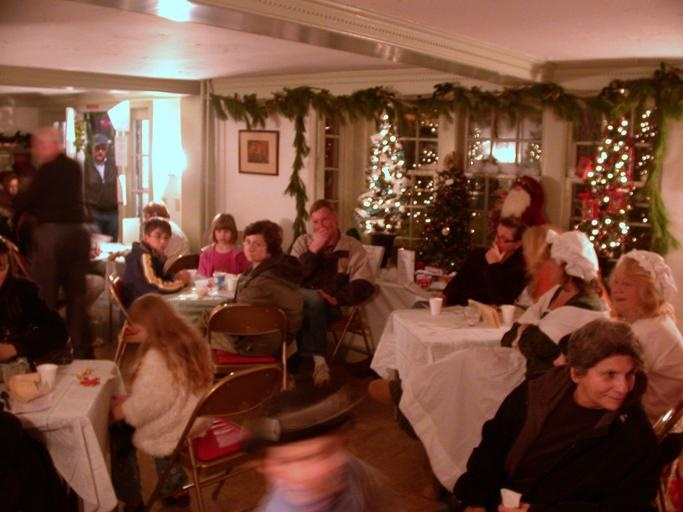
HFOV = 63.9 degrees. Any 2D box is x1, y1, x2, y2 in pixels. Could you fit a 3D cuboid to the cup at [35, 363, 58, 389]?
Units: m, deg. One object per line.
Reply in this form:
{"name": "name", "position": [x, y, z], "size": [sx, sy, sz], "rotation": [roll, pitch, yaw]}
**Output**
{"name": "cup", "position": [-1.475, 0.597, 2.736], "size": [0.122, 0.115, 0.105], "rotation": [2, 1, -3]}

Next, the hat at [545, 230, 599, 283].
{"name": "hat", "position": [1.443, 0.007, 3.392], "size": [0.319, 0.113, 0.335], "rotation": [4, 46, 7]}

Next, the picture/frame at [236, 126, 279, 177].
{"name": "picture/frame", "position": [-1.176, -1.461, 7.705], "size": [0.651, 0.597, 0.031], "rotation": [8, 14, 26]}

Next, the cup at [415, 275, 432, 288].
{"name": "cup", "position": [0.813, 0.247, 5.430], "size": [0.130, 0.101, 0.126], "rotation": [2, -3, 0]}

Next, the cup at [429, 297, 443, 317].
{"name": "cup", "position": [0.691, 0.386, 4.200], "size": [0.131, 0.140, 0.128], "rotation": [0, 3, 0]}

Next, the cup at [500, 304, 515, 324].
{"name": "cup", "position": [1.209, 0.422, 4.031], "size": [0.132, 0.136, 0.128], "rotation": [0, 9, 0]}

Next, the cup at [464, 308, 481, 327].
{"name": "cup", "position": [0.939, 0.458, 3.997], "size": [0.109, 0.092, 0.116], "rotation": [-1, 0, 0]}

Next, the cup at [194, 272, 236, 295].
{"name": "cup", "position": [-1.125, 0.257, 4.982], "size": [0.216, 0.112, 0.315], "rotation": [1, 6, 23]}
